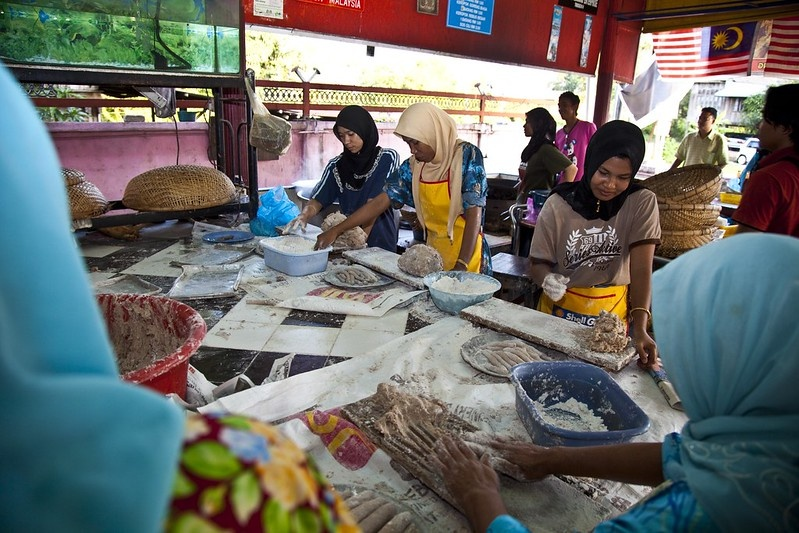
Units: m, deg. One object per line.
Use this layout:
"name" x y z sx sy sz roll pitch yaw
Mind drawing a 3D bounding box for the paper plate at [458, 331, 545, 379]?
"paper plate" 0.437 0.363 2.014 0.296 0.053 0.309 10 22 35

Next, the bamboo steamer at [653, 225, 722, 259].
"bamboo steamer" 1.504 -0.143 2.497 0.255 0.109 0.275 -5 5 -17

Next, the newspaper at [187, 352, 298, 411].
"newspaper" -0.615 0.431 1.747 0.235 0.082 0.190 -23 10 -12

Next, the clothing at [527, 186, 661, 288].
"clothing" 1.070 -0.153 2.566 0.534 0.388 0.268 5 33 30

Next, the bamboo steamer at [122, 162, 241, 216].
"bamboo steamer" -1.721 -0.686 3.684 0.850 0.251 0.820 -3 28 -7

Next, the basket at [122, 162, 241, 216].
"basket" -1.748 -0.654 3.708 0.893 0.263 0.868 -7 23 -6

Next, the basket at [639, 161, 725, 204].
"basket" 2.051 -0.582 3.394 0.424 0.147 0.406 15 -15 -20

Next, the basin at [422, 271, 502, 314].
"basin" 0.311 0.143 2.490 0.339 0.133 0.335 5 22 -2

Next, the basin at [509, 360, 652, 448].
"basin" 0.594 0.466 1.600 0.320 0.146 0.427 -2 25 0

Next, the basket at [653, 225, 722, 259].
"basket" 1.504 -0.143 2.497 0.255 0.109 0.275 -5 5 -17

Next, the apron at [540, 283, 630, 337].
"apron" 1.078 0.201 2.694 0.464 0.301 0.242 4 16 15

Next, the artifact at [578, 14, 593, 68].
"artifact" 3.378 -4.044 8.557 0.214 0.864 0.046 -7 19 -29

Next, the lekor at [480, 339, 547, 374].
"lekor" 0.463 0.365 1.972 0.161 0.040 0.143 -7 15 -27

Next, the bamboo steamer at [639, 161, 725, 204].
"bamboo steamer" 2.068 -0.607 3.391 0.358 0.121 0.338 11 -10 -10
